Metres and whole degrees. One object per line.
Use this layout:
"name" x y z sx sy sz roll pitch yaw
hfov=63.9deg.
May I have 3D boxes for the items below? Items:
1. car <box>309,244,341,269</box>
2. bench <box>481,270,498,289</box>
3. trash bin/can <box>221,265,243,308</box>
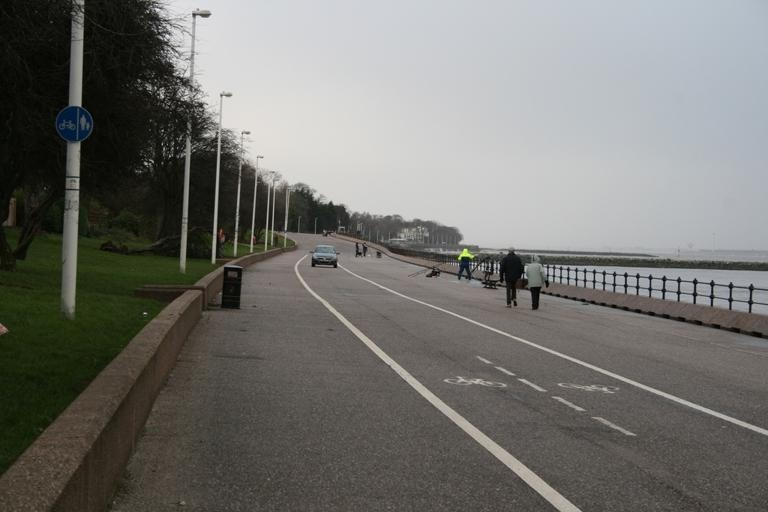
"car" -5.131 0.060 52.955 2.194 1.627 3.573 1 3 -7
"bench" 6.529 1.411 37.134 0.849 1.310 1.003 1 -9 -5
"trash bin/can" -4.937 0.977 19.915 0.607 1.401 0.737 0 3 -18
